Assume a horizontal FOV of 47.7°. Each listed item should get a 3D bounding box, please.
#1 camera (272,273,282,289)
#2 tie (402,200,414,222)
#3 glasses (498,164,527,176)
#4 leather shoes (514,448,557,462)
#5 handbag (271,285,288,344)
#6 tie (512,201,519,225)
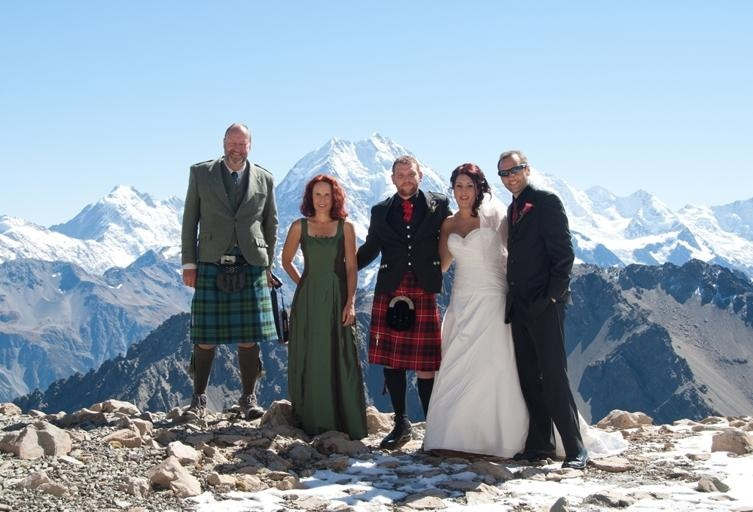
[{"bbox_3d":[-1.878,0.475,16.033,0.153,0.281,0.169,6,12,2],"label":"camera"},{"bbox_3d":[0.553,-0.815,15.349,0.211,0.347,0.085,1,-4,7],"label":"tie"},{"bbox_3d":[2.304,-1.461,14.493,0.507,0.194,0.125,-4,-10,1],"label":"glasses"},{"bbox_3d":[2.669,3.381,14.468,0.478,0.128,0.279,-5,2,-6],"label":"leather shoes"},{"bbox_3d":[-1.827,1.096,16.106,0.227,0.933,0.562,-6,0,1],"label":"handbag"},{"bbox_3d":[2.368,-0.757,14.742,0.074,0.309,0.260,1,-13,11],"label":"tie"}]
